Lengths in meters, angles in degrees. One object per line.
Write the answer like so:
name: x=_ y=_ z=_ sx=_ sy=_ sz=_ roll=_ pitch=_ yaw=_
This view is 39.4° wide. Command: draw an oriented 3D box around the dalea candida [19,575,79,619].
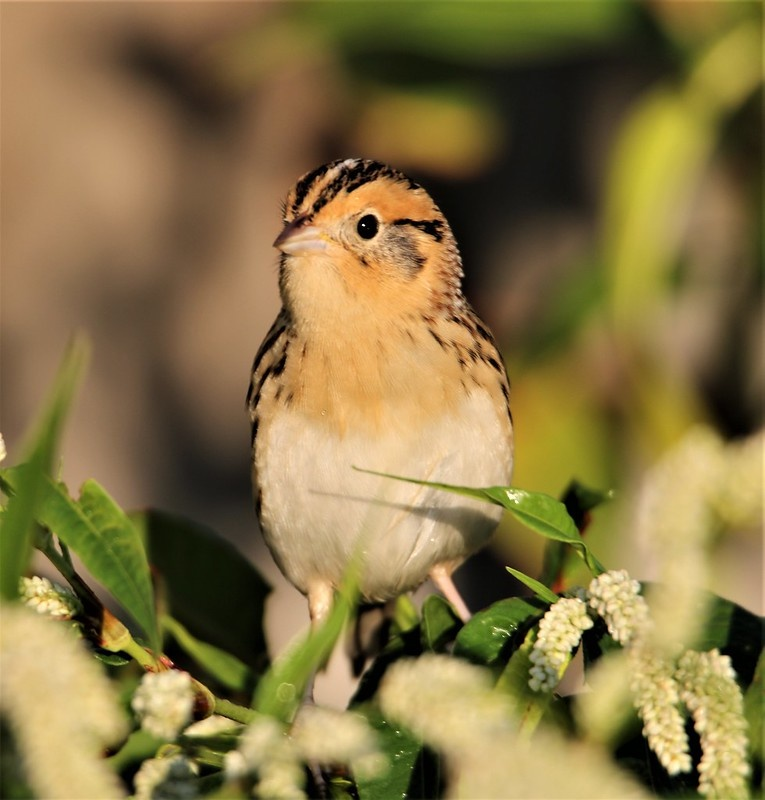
dalea candida: x=-0.445 y=0.265 z=1.426 sx=0.071 sy=0.026 sz=0.041 roll=13 pitch=27 yaw=-7
